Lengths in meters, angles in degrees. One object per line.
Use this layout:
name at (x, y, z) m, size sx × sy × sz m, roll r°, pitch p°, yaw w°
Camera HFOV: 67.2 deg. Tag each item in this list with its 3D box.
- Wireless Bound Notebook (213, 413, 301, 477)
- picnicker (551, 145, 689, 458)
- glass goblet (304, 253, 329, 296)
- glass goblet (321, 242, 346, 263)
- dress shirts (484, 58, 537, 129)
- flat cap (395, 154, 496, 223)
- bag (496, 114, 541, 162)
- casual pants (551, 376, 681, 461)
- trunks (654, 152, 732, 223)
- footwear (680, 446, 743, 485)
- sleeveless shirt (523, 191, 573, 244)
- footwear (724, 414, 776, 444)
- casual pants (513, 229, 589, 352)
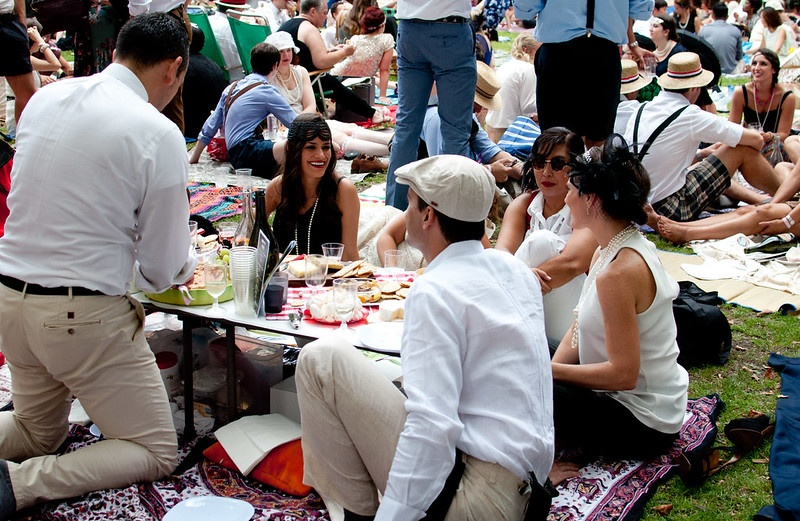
Wireless Bound Notebook at (-0.868, 1.101, 3.613) m, size 0.478 × 0.115 × 0.506 m, roll -8°, pitch 29°, yaw 2°
picnicker at (1.291, 0.279, 3.461) m, size 0.812 × 1.923 × 0.430 m, roll 8°, pitch 10°, yaw 14°
glass goblet at (-0.505, 0.129, 3.593) m, size 0.100 × 0.096 × 0.158 m, roll -7°, pitch 47°, yaw -28°
glass goblet at (-0.437, -0.049, 3.977) m, size 0.130 × 0.106 × 0.141 m, roll 0°, pitch 0°, yaw 2°
dress shirts at (1.582, -2.123, 7.943) m, size 0.523 × 0.859 × 0.857 m, roll 8°, pitch 9°, yaw -24°
flat cap at (0.222, -0.373, 2.798) m, size 0.411 × 0.205 × 0.295 m, roll 29°, pitch 45°, yaw 9°
bag at (1.398, -1.471, 7.027) m, size 0.187 × 0.432 × 0.547 m, roll 19°, pitch -13°, yaw -20°
casual pants at (1.230, 1.000, 3.566) m, size 0.603 × 0.246 × 0.611 m, roll 1°, pitch 11°, yaw 4°
trunks at (3.244, -0.775, 6.695) m, size 0.963 × 0.305 × 0.555 m, roll -30°, pitch 23°, yaw -8°
footwear at (1.811, 1.175, 3.582) m, size 0.366 × 0.147 × 0.214 m, roll -17°, pitch -2°, yaw -17°
sleeveless shirt at (1.090, -0.316, 4.383) m, size 0.354 × 0.484 × 0.269 m, roll 5°, pitch 12°, yaw 33°
footwear at (2.186, 1.050, 3.785) m, size 0.334 × 0.137 × 0.148 m, roll 2°, pitch -29°, yaw -29°
casual pants at (1.052, 0.192, 4.217) m, size 0.303 × 0.841 × 0.455 m, roll -25°, pitch 36°, yaw -37°
